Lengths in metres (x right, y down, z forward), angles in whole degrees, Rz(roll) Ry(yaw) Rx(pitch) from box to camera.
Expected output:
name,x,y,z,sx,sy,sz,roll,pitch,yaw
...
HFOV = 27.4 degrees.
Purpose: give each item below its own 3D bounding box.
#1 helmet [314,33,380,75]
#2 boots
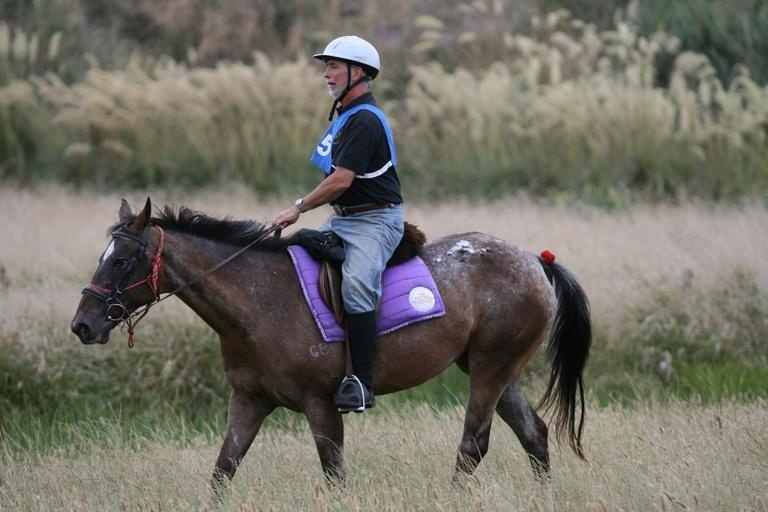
name,x,y,z,sx,sy,sz,roll,pitch,yaw
helmet,-0.388,-2.401,18.751,0.595,0.381,0.451,14,3,-10
boots,-0.295,1.241,18.272,0.458,1.126,0.471,4,13,0
